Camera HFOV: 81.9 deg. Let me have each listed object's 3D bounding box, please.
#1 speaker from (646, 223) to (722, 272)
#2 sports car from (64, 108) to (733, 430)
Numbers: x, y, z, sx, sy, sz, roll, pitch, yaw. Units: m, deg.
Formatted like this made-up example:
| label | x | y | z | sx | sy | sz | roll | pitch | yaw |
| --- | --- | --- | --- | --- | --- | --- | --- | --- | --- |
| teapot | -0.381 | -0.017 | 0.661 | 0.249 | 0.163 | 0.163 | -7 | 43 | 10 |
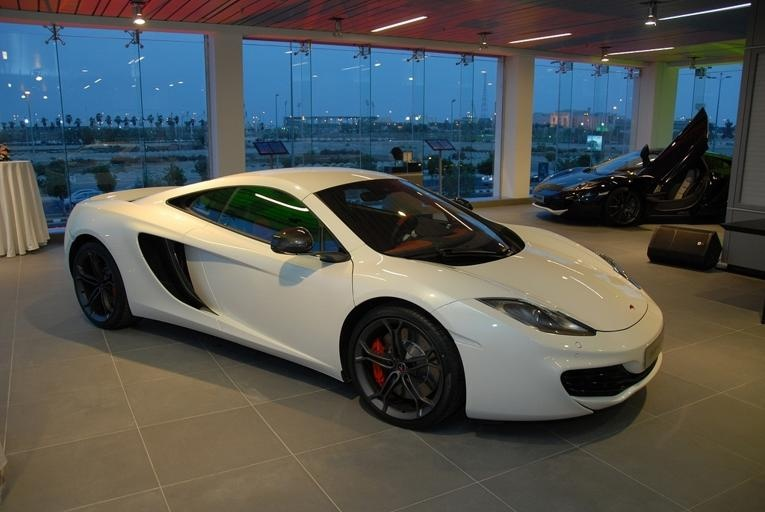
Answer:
| label | x | y | z | sx | sy | sz | roll | pitch | yaw |
| --- | --- | --- | --- | --- | --- | --- | --- | --- | --- |
| speaker | 4.530 | -0.149 | 6.631 | 0.671 | 0.613 | 0.867 | 8 | 7 | -26 |
| sports car | -0.190 | 0.130 | 3.557 | 4.256 | 1.154 | 2.103 | 9 | 17 | 26 |
